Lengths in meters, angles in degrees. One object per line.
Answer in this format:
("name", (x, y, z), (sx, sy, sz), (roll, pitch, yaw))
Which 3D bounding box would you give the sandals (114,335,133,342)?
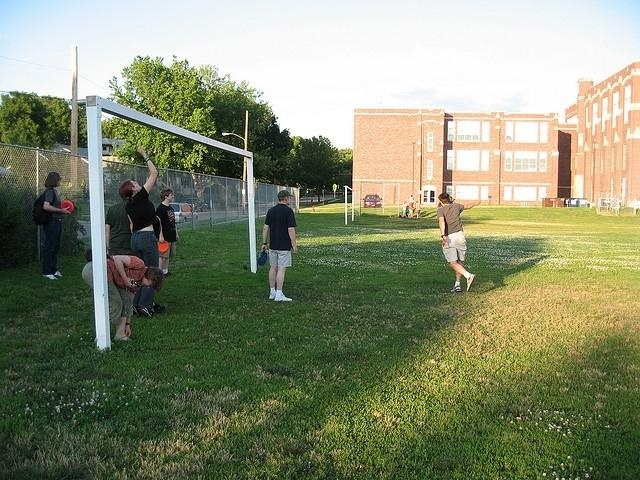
("sandals", (-2.674, 1.350, 7.394), (0.229, 0.096, 0.084), (-1, -3, 2))

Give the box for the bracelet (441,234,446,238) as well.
("bracelet", (2.816, -0.089, 12.334), (0.098, 0.034, 0.097), (-6, 6, -39))

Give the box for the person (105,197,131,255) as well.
("person", (-2.855, -0.159, 7.762), (0.336, 0.745, 0.520), (-4, 8, -40))

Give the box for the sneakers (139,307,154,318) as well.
("sneakers", (-2.766, 1.150, 8.703), (0.274, 0.120, 0.094), (21, 10, 17))

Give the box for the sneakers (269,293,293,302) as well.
("sneakers", (-0.736, 1.082, 10.247), (0.477, 0.232, 0.163), (0, 1, -2))

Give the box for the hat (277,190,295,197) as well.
("hat", (-0.641, -0.827, 10.273), (0.222, 0.158, 0.315), (2, 13, 29))

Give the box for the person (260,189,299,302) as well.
("person", (-0.793, 0.096, 10.558), (0.652, 2.111, 1.250), (0, 6, -4))

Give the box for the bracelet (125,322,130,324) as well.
("bracelet", (-2.698, 1.178, 7.643), (0.039, 0.039, 0.039), (3, -9, -23))

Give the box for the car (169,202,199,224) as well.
("car", (-5.589, -1.117, 22.293), (0.945, 0.935, 2.128), (2, 9, 9))

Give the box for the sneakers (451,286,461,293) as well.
("sneakers", (2.913, 1.054, 11.498), (0.096, 0.123, 0.284), (1, 3, 11))

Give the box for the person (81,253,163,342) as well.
("person", (-2.677, 0.836, 7.330), (1.104, 0.590, 1.293), (15, 38, -29))
